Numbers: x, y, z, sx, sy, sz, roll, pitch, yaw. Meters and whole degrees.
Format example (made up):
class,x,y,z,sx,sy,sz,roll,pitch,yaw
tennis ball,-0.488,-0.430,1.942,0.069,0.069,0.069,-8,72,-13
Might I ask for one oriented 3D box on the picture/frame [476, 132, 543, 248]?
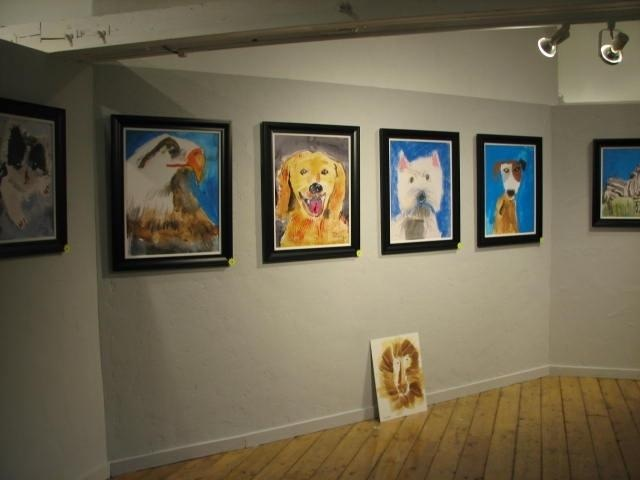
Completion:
class,x,y,z,sx,sy,sz,roll,pitch,yaw
picture/frame,2.132,-0.603,5.672,1.055,1.645,0.104,-4,5,-27

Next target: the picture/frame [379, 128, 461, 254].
class,x,y,z,sx,sy,sz,roll,pitch,yaw
picture/frame,1.013,-0.546,5.219,1.060,1.647,0.101,-4,5,-28
